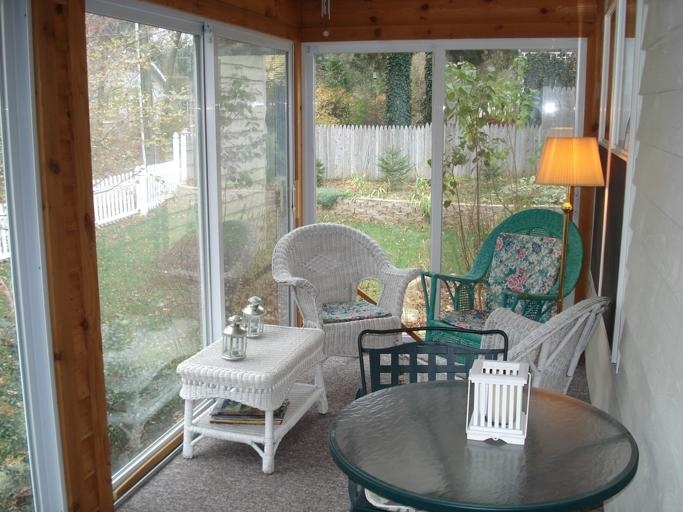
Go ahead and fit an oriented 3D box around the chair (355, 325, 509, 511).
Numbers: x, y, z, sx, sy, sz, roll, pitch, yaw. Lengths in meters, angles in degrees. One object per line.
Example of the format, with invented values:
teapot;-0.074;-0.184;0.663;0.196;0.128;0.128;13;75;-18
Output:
chair;0.396;0.704;2.948;0.671;1.257;0.751;-1;3;-7

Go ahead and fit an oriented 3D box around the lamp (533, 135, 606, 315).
lamp;1.652;-0.222;4.158;0.435;1.282;0.770;3;11;24

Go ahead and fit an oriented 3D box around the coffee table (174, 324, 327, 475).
coffee table;-0.509;0.715;3.453;0.682;0.652;1.056;3;10;15
